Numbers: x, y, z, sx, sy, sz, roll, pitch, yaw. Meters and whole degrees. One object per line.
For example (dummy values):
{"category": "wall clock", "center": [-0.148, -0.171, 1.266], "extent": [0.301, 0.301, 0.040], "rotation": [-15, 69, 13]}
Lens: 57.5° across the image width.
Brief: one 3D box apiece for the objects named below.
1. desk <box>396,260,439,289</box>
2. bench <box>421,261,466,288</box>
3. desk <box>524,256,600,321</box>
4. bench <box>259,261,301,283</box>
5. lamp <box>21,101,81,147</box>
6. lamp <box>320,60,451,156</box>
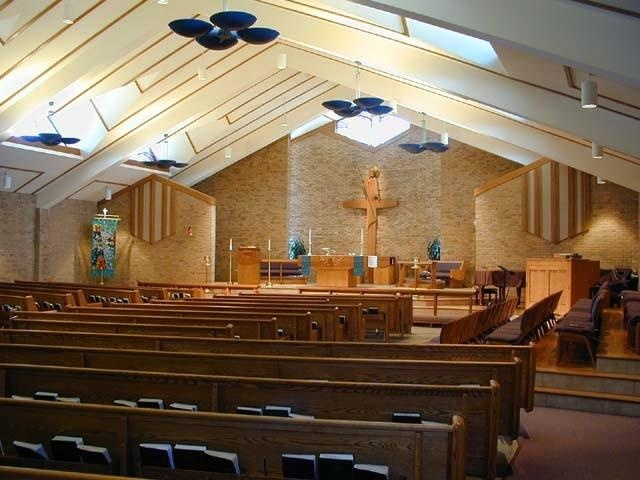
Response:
{"category": "desk", "center": [2.554, 0.928, 15.544], "extent": [1.122, 0.512, 0.960], "rotation": [0, -5, -3]}
{"category": "bench", "center": [3.397, 0.931, 15.548], "extent": [1.396, 0.718, 0.954], "rotation": [-4, -6, 44]}
{"category": "desk", "center": [4.591, 0.979, 11.632], "extent": [1.459, 1.081, 1.437], "rotation": [-3, -7, 42]}
{"category": "bench", "center": [-1.159, 0.936, 16.594], "extent": [0.949, 0.380, 0.288], "rotation": [-1, -8, 2]}
{"category": "lamp", "center": [-5.357, -2.247, 11.202], "extent": [1.285, 0.771, 1.079], "rotation": [1, -1, -6]}
{"category": "lamp", "center": [1.183, -3.128, 12.465], "extent": [2.495, 0.970, 2.923], "rotation": [3, 0, 24]}
